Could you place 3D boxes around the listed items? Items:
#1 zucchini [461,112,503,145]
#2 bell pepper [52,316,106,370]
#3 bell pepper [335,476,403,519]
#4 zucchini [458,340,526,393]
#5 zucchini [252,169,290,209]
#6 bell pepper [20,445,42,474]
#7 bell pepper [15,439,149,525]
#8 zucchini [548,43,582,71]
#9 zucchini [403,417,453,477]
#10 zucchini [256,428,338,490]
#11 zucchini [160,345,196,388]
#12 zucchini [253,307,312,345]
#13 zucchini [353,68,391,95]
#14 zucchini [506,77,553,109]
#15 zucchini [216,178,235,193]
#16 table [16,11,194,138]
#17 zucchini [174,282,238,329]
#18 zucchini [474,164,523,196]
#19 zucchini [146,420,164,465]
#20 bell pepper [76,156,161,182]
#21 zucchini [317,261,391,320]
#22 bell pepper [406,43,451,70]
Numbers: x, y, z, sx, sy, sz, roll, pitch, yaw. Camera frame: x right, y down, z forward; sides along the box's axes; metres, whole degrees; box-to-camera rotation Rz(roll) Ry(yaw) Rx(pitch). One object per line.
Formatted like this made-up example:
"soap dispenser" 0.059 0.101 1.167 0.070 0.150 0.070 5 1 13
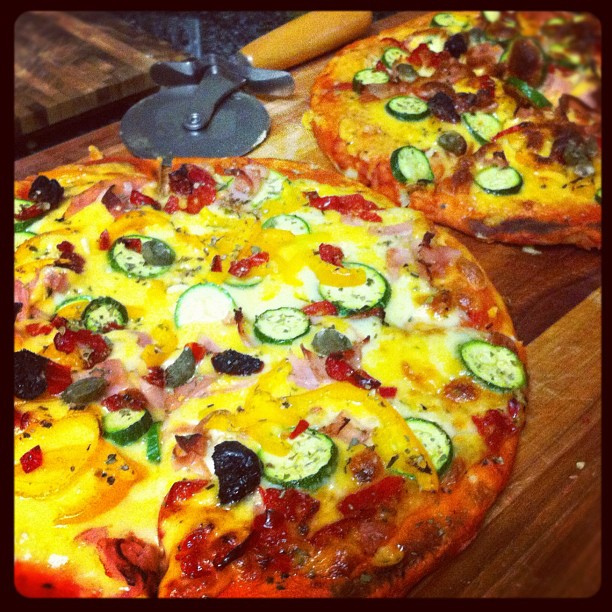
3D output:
"zucchini" 1.209 -1.235 5.084 0.325 0.072 0.255 2 59 -8
"bell pepper" -1.089 0.191 3.635 0.330 0.131 0.259 -14 29 -27
"bell pepper" 0.268 0.803 3.175 0.297 0.081 0.091 -23 46 -30
"zucchini" 0.902 0.282 3.618 0.343 0.041 0.201 31 64 4
"zucchini" -0.215 -0.708 4.563 0.297 0.071 0.231 0 52 4
"bell pepper" -1.152 0.653 3.178 0.073 0.059 0.116 32 47 32
"bell pepper" -0.900 0.734 3.202 0.436 0.183 0.349 -15 40 -20
"zucchini" 2.001 -1.892 5.785 0.261 0.072 0.237 -9 65 3
"zucchini" 0.539 0.629 3.314 0.296 0.061 0.225 19 58 8
"zucchini" -0.027 0.670 3.221 0.332 0.111 0.246 -20 42 -27
"zucchini" -0.588 0.313 3.622 0.199 0.070 0.211 -7 33 -1
"zucchini" -0.111 0.095 3.754 0.272 0.046 0.192 0 37 6
"zucchini" 0.472 -1.683 5.534 0.304 0.054 0.234 -8 44 -12
"zucchini" 1.633 -1.532 5.526 0.292 0.068 0.306 43 21 19
"zucchini" -0.503 -0.724 4.564 0.184 0.050 0.024 -29 78 -18
"table" -1.464 -1.618 5.344 1.309 0.538 1.597 21 30 30
"zucchini" -0.525 0.001 3.869 0.307 0.053 0.218 -4 59 -8
"zucchini" 1.212 -0.800 4.784 0.276 0.053 0.217 -7 47 -4
"zucchini" -0.683 0.608 3.359 0.080 0.055 0.233 -11 31 -4
"bell pepper" -1.136 -0.837 4.627 0.526 0.106 0.446 -2 19 -4
"zucchini" 0.275 -0.066 3.875 0.349 0.068 0.266 -20 58 -7
"bell pepper" 0.932 -1.892 5.740 0.330 0.078 0.226 -7 76 1
